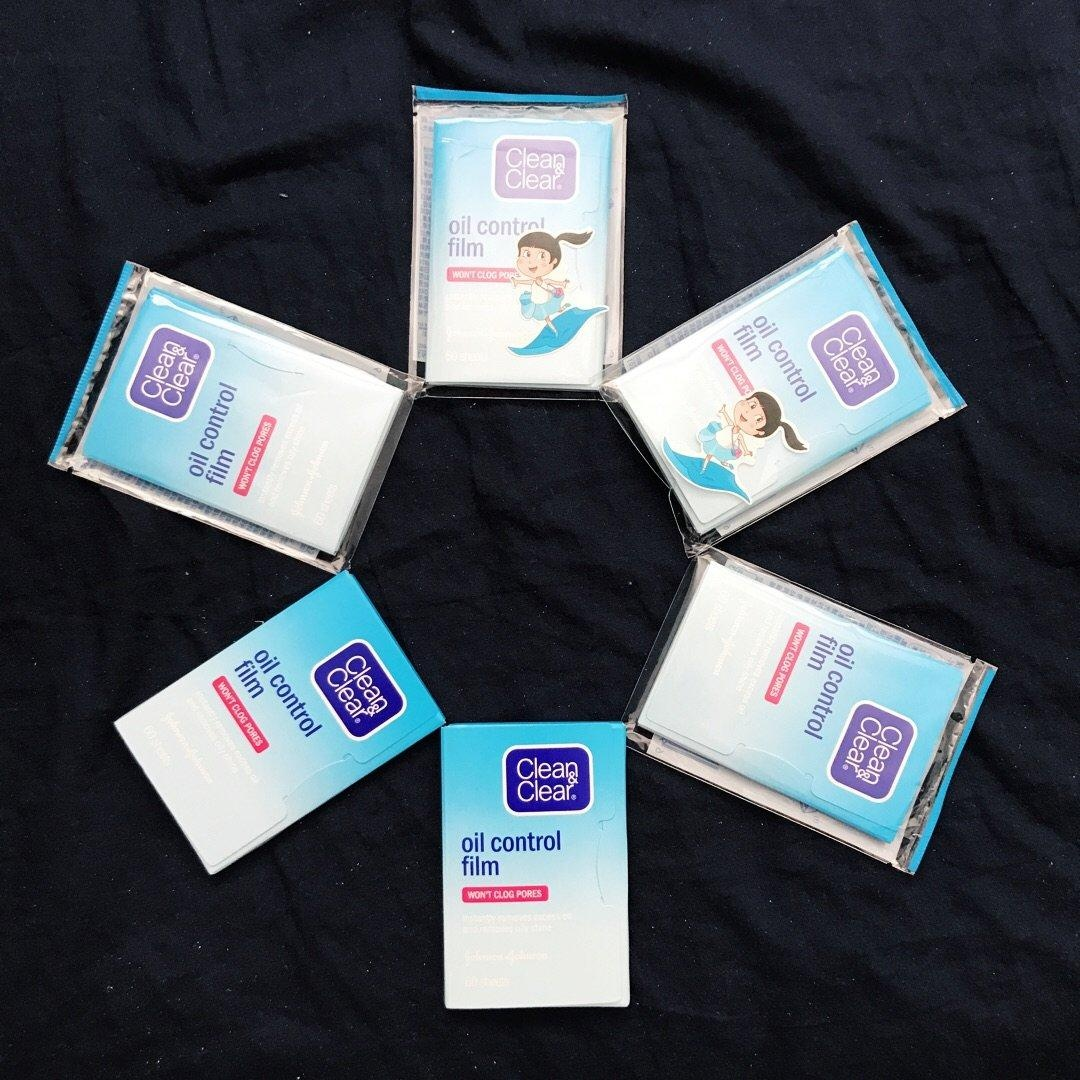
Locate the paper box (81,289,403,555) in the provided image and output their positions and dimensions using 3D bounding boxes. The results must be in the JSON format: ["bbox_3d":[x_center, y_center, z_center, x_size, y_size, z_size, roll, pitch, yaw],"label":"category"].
[{"bbox_3d":[-0.380,-0.152,1.526,0.404,0.094,0.290,15,77,-7],"label":"paper box"}]
